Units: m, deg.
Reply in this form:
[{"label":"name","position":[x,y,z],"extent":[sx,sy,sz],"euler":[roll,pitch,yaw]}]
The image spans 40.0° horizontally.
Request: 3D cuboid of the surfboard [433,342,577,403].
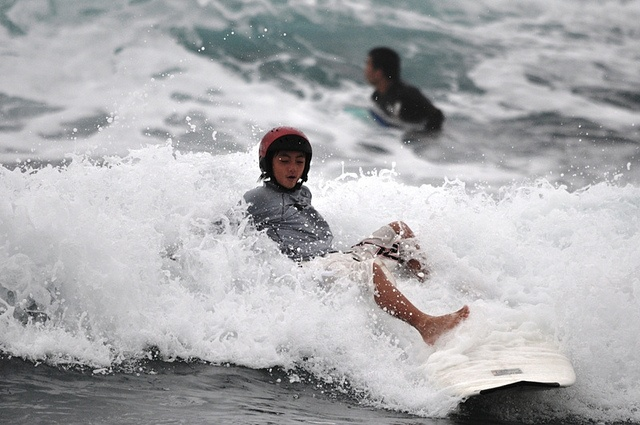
[{"label":"surfboard","position":[1.912,1.624,9.192],"extent":[1.617,0.268,1.764],"euler":[-8,5,15]}]
